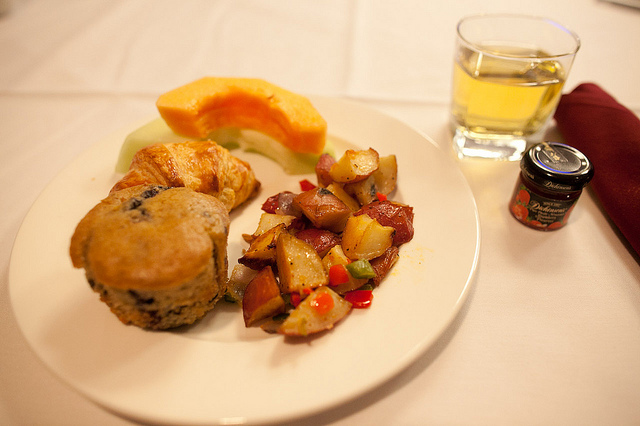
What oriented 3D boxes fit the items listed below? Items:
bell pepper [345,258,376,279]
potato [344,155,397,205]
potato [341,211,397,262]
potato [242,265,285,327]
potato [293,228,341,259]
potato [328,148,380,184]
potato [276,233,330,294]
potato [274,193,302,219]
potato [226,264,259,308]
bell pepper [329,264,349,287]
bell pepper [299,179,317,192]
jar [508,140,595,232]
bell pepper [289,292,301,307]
[{"bbox_3d":[0.188,0.252,2.463,0.098,0.033,0.095,-8,48,-16],"label":"bell pepper"},{"bbox_3d":[0.314,-0.166,2.865,0.195,0.234,0.354,-10,29,-16],"label":"potato"},{"bbox_3d":[0.251,0.066,2.640,0.372,0.177,0.224,16,25,34],"label":"potato"},{"bbox_3d":[-0.287,0.377,2.461,0.192,0.119,0.199,-20,57,-10],"label":"potato"},{"bbox_3d":[-0.003,0.122,2.568,0.156,0.051,0.152,-21,37,-30],"label":"potato"},{"bbox_3d":[0.181,-0.242,2.751,0.267,0.131,0.151,-19,57,-10],"label":"potato"},{"bbox_3d":[-0.095,0.235,2.461,0.237,0.120,0.329,-9,68,-11],"label":"potato"},{"bbox_3d":[-0.175,-0.036,2.744,0.122,0.033,0.120,-7,63,9],"label":"potato"},{"bbox_3d":[-0.383,0.346,2.569,0.136,0.145,0.226,-4,21,-14],"label":"potato"},{"bbox_3d":[0.087,0.284,2.473,0.093,0.087,0.087,-3,92,4],"label":"bell pepper"},{"bbox_3d":[-0.069,-0.156,2.908,0.063,0.030,0.086,-24,57,-30],"label":"bell pepper"},{"bbox_3d":[1.177,-0.141,2.776,0.331,0.347,0.358,-2,56,3],"label":"jar"},{"bbox_3d":[-0.119,0.396,2.450,0.061,0.020,0.058,-6,91,18],"label":"bell pepper"}]
